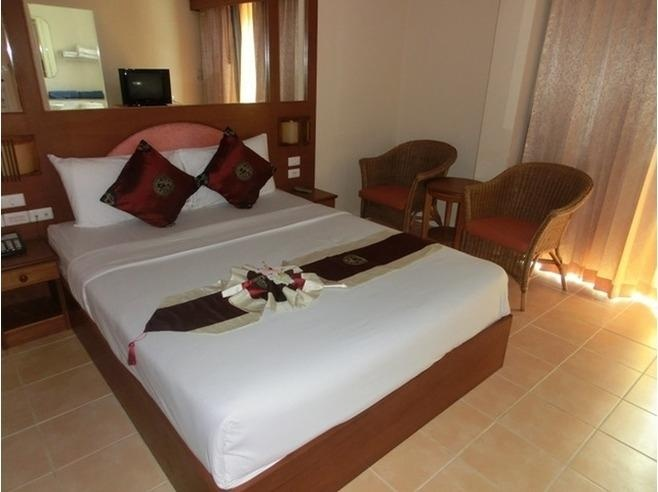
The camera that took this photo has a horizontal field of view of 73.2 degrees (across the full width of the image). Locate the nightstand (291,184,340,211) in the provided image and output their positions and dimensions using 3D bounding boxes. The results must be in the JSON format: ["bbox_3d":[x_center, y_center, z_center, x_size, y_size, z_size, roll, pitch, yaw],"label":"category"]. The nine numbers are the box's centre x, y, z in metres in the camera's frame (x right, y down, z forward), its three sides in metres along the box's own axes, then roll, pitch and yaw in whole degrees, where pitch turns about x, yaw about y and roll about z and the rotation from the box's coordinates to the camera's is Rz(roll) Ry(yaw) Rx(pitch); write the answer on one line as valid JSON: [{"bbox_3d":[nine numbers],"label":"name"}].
[{"bbox_3d":[-0.102,-0.518,4.428,0.318,0.210,0.320,-18,31,-39],"label":"nightstand"}]

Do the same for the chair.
[{"bbox_3d":[1.336,-0.169,3.746,0.545,0.719,1.475,-20,32,-34],"label":"chair"}]
